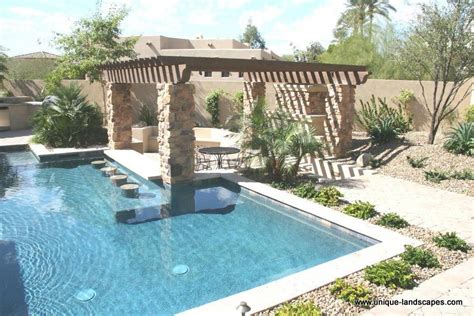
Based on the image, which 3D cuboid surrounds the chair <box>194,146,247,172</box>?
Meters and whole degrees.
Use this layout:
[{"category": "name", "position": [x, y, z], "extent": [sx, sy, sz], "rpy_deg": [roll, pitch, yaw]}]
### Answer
[{"category": "chair", "position": [-0.684, -0.008, 12.022], "extent": [1.137, 0.558, 1.132], "rpy_deg": [-6, 9, -35]}]
